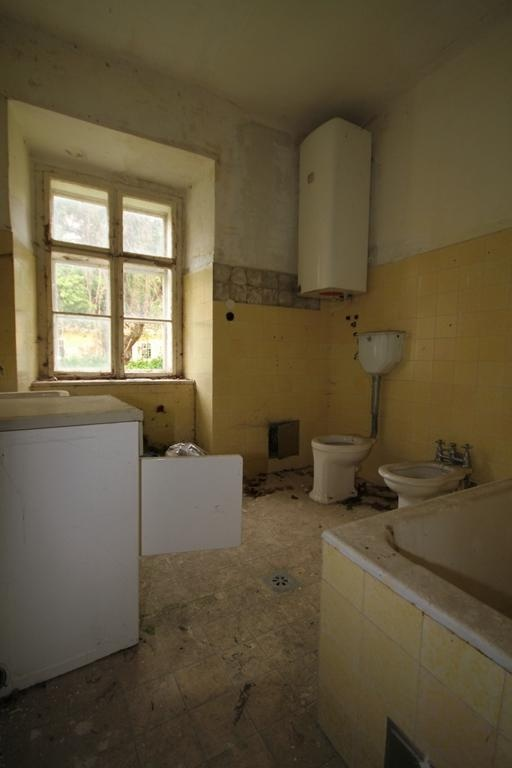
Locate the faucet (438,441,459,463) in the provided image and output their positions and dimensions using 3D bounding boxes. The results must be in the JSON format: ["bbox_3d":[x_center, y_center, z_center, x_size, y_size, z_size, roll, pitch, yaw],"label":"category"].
[{"bbox_3d":[1.015,0.362,2.825,0.047,0.085,0.082,-11,16,-27],"label":"faucet"}]

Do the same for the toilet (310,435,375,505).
[{"bbox_3d":[0.531,0.488,3.297,0.390,0.418,0.396,11,22,33],"label":"toilet"}]

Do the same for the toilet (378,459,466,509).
[{"bbox_3d":[0.830,0.470,2.677,0.298,0.224,0.291,-7,10,-24],"label":"toilet"}]
